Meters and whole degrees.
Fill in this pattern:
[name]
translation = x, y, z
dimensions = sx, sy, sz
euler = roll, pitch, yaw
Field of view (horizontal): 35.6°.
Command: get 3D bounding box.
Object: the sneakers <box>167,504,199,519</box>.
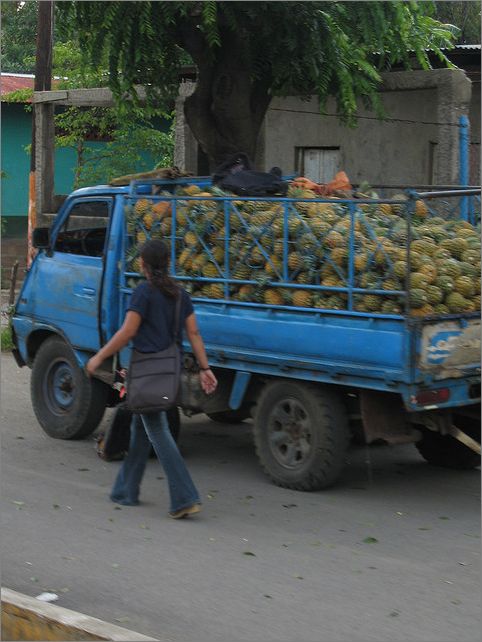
[sneakers]
translation = -0.338, 1.180, 4.619
dimensions = 0.242, 0.087, 0.081
euler = -11, 1, 14

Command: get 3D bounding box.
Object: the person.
[person]
translation = -0.535, 0.372, 4.617
dimensions = 0.754, 1.742, 0.480
euler = -1, 8, -3

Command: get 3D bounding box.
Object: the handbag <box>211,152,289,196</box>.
[handbag]
translation = 0.105, -1.121, 5.954
dimensions = 0.581, 0.225, 0.540
euler = -11, 25, -27
